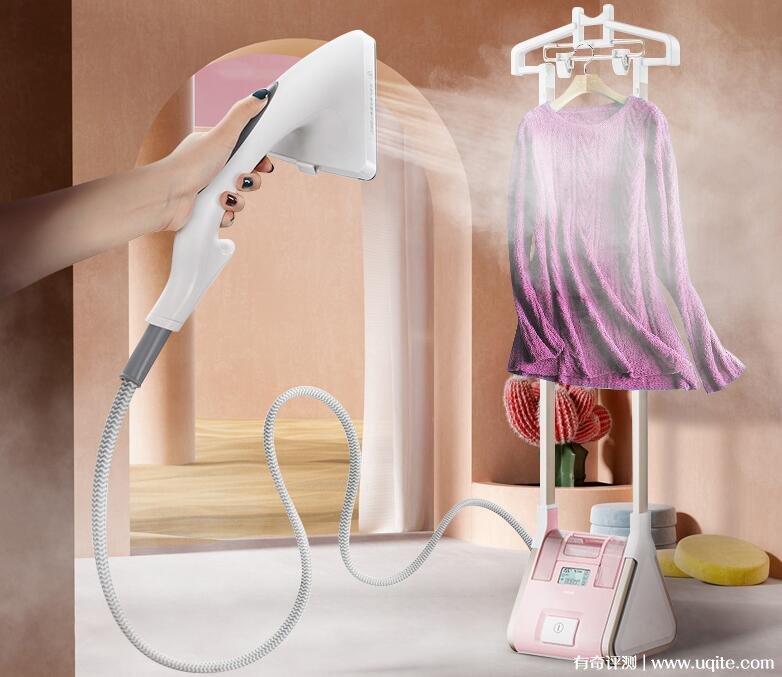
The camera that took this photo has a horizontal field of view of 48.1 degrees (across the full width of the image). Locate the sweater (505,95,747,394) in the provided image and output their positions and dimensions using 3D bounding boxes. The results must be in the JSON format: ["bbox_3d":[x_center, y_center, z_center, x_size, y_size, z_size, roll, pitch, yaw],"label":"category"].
[{"bbox_3d":[0.541,-0.215,2.037,0.538,0.681,0.168,-1,0,6],"label":"sweater"}]

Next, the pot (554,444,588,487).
[{"bbox_3d":[0.652,0.465,3.239,0.154,0.158,0.143,0,-5,0],"label":"pot"}]
